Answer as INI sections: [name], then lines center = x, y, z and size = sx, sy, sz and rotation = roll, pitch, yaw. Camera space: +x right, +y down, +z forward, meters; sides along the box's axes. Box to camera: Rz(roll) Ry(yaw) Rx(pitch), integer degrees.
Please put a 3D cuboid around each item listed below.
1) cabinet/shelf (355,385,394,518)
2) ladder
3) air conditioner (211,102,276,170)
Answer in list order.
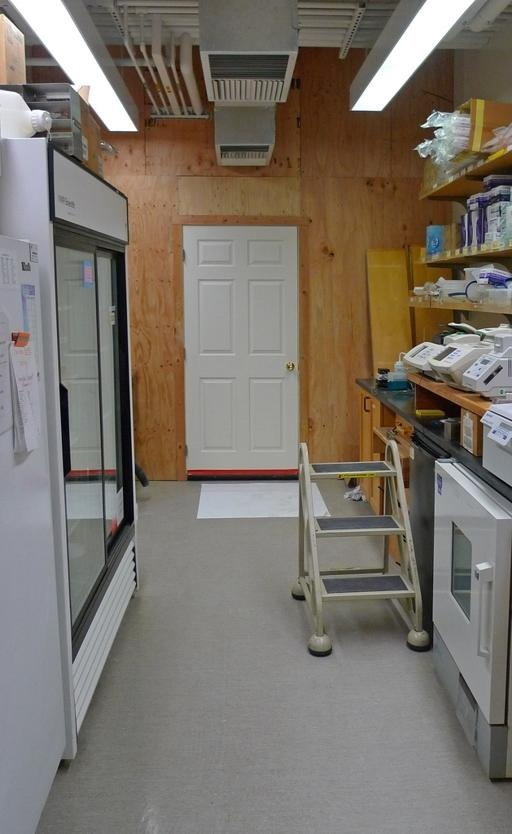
[cabinet/shelf]
center = 0.764, 0.232, 3.570
size = 0.209, 0.758, 0.654
rotation = -1, 13, 0
[ladder]
center = 0.432, 0.560, 2.484
size = 0.402, 0.908, 0.796
rotation = 0, 2, 1
[air conditioner]
center = -0.100, -2.065, 4.124
size = 0.428, 0.234, 0.733
rotation = -1, 6, -3
